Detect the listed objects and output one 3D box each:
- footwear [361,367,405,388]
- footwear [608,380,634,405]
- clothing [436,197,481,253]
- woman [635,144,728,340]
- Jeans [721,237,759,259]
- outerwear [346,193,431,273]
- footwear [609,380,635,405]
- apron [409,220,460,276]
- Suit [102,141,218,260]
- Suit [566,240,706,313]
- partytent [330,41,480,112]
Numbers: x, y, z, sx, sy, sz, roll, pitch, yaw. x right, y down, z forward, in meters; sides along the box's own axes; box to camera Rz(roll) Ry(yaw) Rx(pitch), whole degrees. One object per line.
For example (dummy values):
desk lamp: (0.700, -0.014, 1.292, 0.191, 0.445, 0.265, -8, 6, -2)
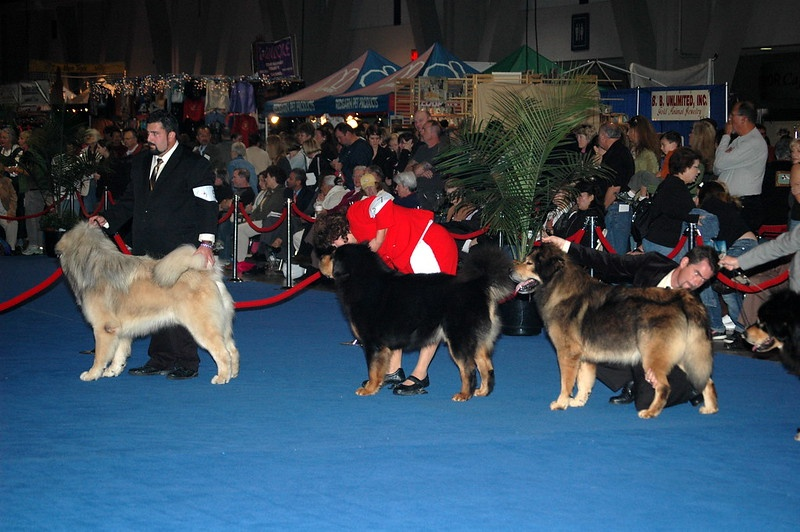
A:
footwear: (-0.168, 1.312, 7.626, 0.559, 0.232, 0.199, -2, 2, -7)
footwear: (2.484, 1.423, 7.177, 0.370, 0.258, 0.145, 0, 0, -3)
clothing: (0.968, -0.680, 10.774, 0.303, 0.827, 0.637, 7, 16, 3)
woman: (4.175, -0.318, 9.386, 1.128, 2.916, 1.425, 8, -14, -19)
Jeans: (4.384, -0.232, 8.364, 0.272, 0.261, 0.169, -23, -29, 22)
outerwear: (-0.102, -0.430, 7.206, 0.926, 0.770, 0.349, 10, 47, 0)
footwear: (2.490, 1.418, 7.177, 0.371, 0.258, 0.144, 1, 1, 0)
apron: (0.389, -0.147, 7.342, 0.514, 0.890, 0.681, 1, -1, -2)
Suit: (-2.767, -0.769, 7.763, 1.724, 1.424, 1.003, 6, 12, 15)
Suit: (2.527, -0.018, 7.026, 1.276, 0.533, 0.901, -3, 9, -35)
partytent: (0.057, -4.825, 17.056, 2.526, 1.091, 2.504, -4, 6, -6)
